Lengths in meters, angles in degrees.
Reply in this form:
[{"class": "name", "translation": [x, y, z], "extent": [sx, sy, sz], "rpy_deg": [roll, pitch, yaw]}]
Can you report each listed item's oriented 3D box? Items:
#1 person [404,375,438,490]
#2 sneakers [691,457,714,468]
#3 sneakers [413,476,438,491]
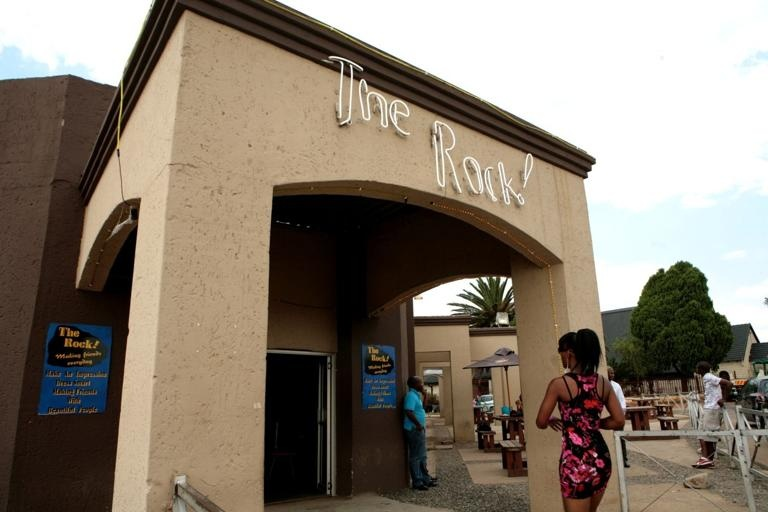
[{"class": "person", "translation": [0.740, 3.590, 10.291], "extent": [0.516, 2.166, 1.282], "rpy_deg": [-6, -14, 12]}, {"class": "sneakers", "translation": [6.198, 4.029, 9.669], "extent": [0.347, 0.138, 0.201], "rpy_deg": [-5, -4, -22]}, {"class": "sneakers", "translation": [0.866, 4.549, 9.920], "extent": [0.553, 0.237, 0.185], "rpy_deg": [0, -6, -26]}]
